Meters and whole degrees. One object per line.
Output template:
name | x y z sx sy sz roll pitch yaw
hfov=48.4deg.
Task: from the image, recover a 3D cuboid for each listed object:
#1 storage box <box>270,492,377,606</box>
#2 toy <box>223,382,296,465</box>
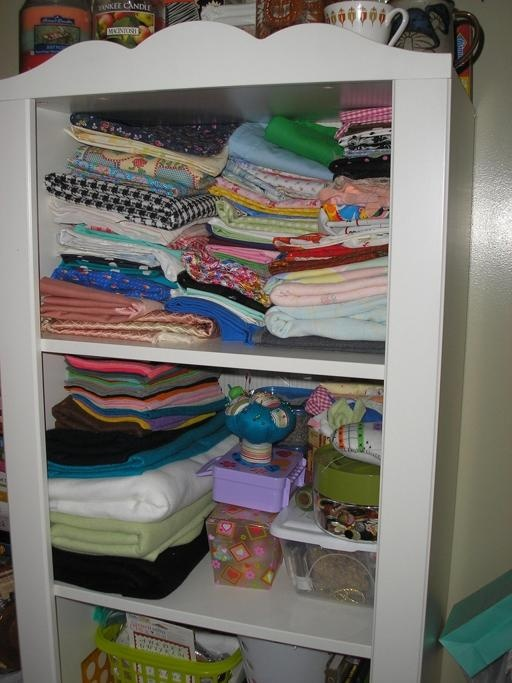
storage box | 0.101 0.341 0.965 0.177 0.109 0.130 2 -1 24
toy | 0.013 0.140 1.017 0.138 0.127 0.117 1 7 -17
